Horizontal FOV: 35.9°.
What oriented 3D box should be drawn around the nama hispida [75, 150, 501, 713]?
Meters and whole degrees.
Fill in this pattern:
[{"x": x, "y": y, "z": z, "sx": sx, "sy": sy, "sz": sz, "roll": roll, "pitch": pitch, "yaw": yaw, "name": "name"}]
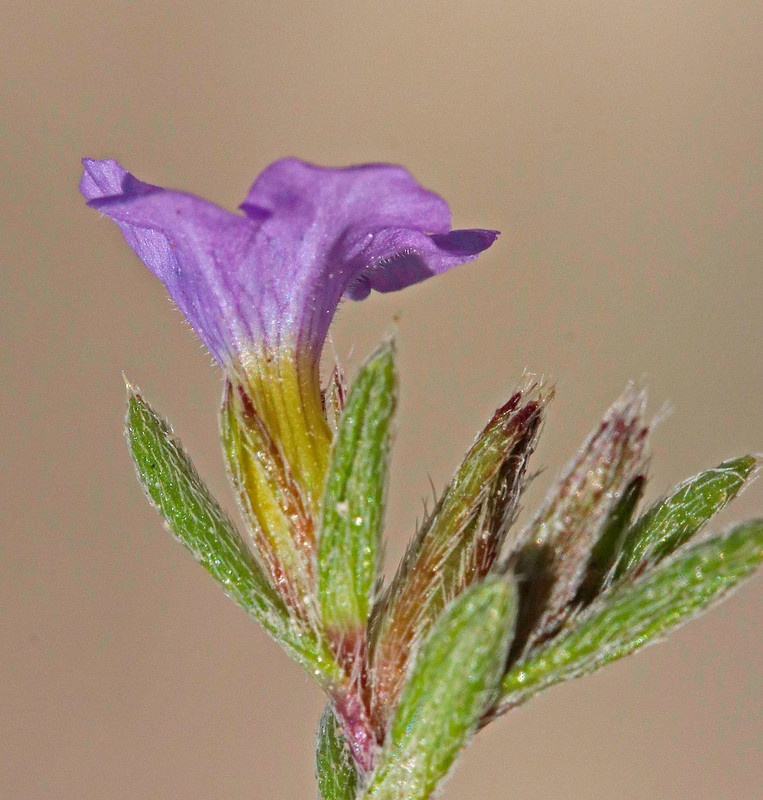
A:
[{"x": -0.083, "y": 0.065, "z": 1.818, "sx": 0.582, "sy": 0.658, "sz": 0.638, "roll": 1, "pitch": -25, "yaw": 3, "name": "nama hispida"}]
